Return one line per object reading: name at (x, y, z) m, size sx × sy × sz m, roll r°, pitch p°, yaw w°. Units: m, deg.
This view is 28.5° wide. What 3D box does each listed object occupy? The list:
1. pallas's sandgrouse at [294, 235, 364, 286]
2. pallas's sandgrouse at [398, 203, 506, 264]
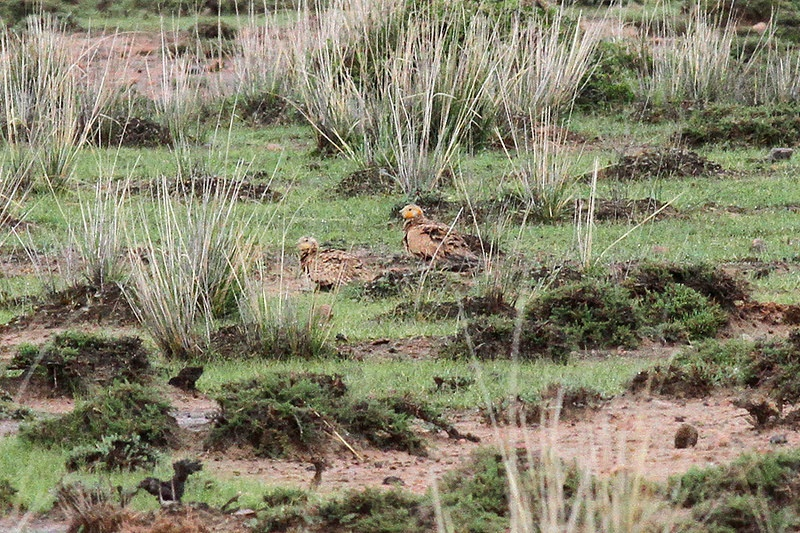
pallas's sandgrouse at (-0.936, -0.041, 21.796) m, size 1.059 × 0.743 × 0.626 m, roll 4°, pitch 11°, yaw -2°
pallas's sandgrouse at (0.621, -0.403, 22.188) m, size 1.042 × 0.717 × 1.858 m, roll -2°, pitch 20°, yaw -14°
